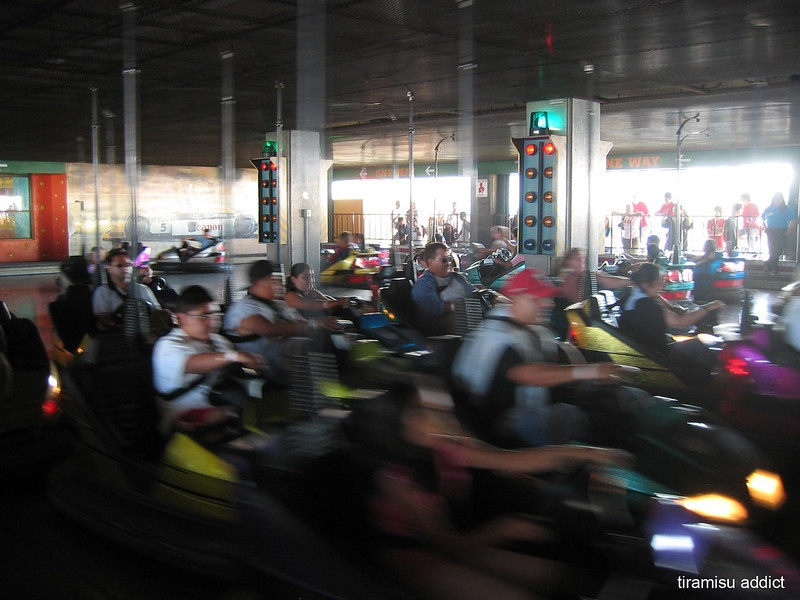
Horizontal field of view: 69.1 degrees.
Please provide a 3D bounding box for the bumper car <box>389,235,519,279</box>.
[{"bbox_3d":[0.807,-0.617,8.899,1.746,0.596,0.866,-1,5,11],"label":"bumper car"}]

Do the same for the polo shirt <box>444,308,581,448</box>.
[{"bbox_3d":[0.440,0.313,2.270,0.298,0.417,0.526,-13,-1,34],"label":"polo shirt"}]

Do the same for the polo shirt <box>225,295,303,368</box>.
[{"bbox_3d":[-0.815,0.200,3.801,0.373,0.492,0.613,-5,2,25],"label":"polo shirt"}]

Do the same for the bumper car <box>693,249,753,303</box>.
[{"bbox_3d":[5.260,-0.390,9.537,0.984,0.579,1.433,1,7,21],"label":"bumper car"}]

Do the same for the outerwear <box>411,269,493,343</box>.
[{"bbox_3d":[0.457,-0.030,5.123,0.784,0.500,0.427,7,33,0],"label":"outerwear"}]
